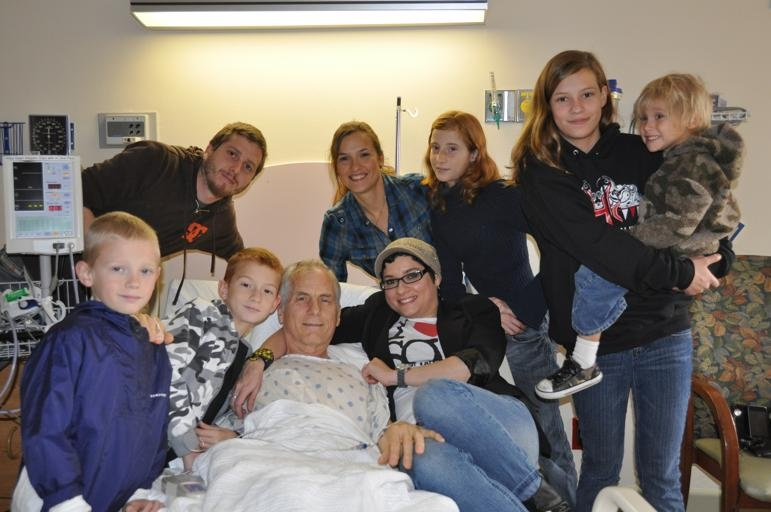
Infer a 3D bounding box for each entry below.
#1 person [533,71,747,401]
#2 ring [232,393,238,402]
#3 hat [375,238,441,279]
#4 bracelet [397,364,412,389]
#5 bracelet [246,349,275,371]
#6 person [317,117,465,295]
[{"bbox_3d":[1.346,-0.082,3.299,0.940,1.679,0.456,2,9,12],"label":"person"},{"bbox_3d":[-0.776,0.728,3.327,0.029,0.013,0.039,-17,50,25],"label":"ring"},{"bbox_3d":[0.143,0.001,3.657,0.234,0.313,0.149,-9,48,25],"label":"hat"},{"bbox_3d":[0.085,0.637,3.376,0.075,0.103,0.099,1,-5,8],"label":"bracelet"},{"bbox_3d":[-0.674,0.550,3.483,0.111,0.058,0.092,-5,40,36],"label":"bracelet"},{"bbox_3d":[0.027,-0.284,4.073,0.991,0.764,0.308,-24,12,8],"label":"person"}]
